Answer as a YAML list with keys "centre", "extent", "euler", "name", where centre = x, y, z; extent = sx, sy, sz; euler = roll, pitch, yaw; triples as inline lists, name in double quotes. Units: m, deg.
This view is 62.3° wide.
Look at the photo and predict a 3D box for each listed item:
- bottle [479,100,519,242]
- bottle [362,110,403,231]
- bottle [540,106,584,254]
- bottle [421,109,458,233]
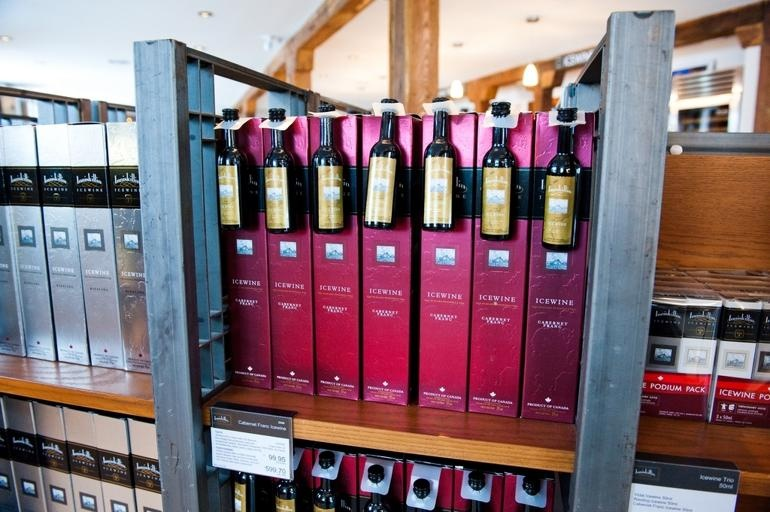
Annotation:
- centre: [0.338, -0.251, 1.899]
  extent: [0.098, 0.403, 0.068]
  euler: [1, 8, 10]
  name: "bottle"
- centre: [-0.009, -0.264, 1.942]
  extent: [0.092, 0.351, 0.078]
  euler: [1, 8, 9]
  name: "bottle"
- centre: [0.522, -0.223, 1.878]
  extent: [0.110, 0.411, 0.077]
  euler: [1, 8, 5]
  name: "bottle"
- centre: [0.160, -0.256, 1.922]
  extent: [0.089, 0.357, 0.068]
  euler: [0, 8, 1]
  name: "bottle"
